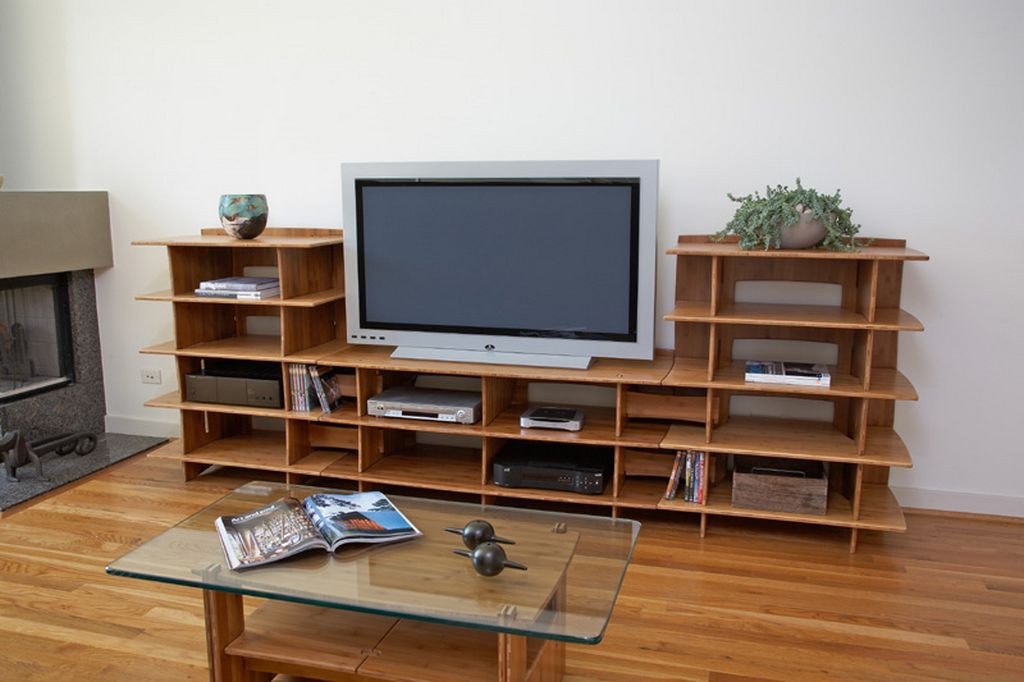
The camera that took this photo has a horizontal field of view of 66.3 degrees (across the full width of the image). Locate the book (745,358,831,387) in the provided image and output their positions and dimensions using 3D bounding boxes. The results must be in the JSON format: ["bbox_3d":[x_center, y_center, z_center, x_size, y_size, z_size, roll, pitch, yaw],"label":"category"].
[{"bbox_3d":[1.353,0.142,3.857,0.383,0.085,0.331,3,12,14],"label":"book"}]

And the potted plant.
[{"bbox_3d":[1.365,-0.587,3.795,0.605,0.192,0.605,-7,8,-30],"label":"potted plant"}]

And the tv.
[{"bbox_3d":[0.003,-0.414,4.053,1.521,0.722,0.210,2,12,11],"label":"tv"}]

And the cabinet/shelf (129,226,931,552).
[{"bbox_3d":[-0.080,0.220,4.228,3.970,1.067,0.573,4,11,16],"label":"cabinet/shelf"}]
